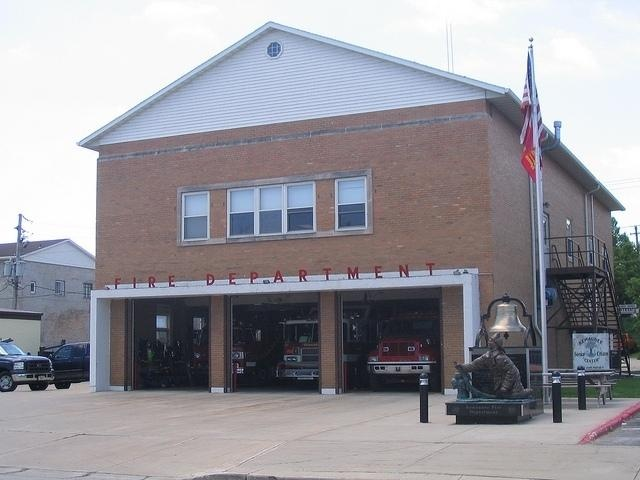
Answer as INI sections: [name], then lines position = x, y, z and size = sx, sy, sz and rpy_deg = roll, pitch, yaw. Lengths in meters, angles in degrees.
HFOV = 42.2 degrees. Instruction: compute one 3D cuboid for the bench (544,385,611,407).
[bench]
position = 8.197, 4.877, 26.216
size = 1.873, 0.926, 6.431
rpy_deg = -6, -14, 19
